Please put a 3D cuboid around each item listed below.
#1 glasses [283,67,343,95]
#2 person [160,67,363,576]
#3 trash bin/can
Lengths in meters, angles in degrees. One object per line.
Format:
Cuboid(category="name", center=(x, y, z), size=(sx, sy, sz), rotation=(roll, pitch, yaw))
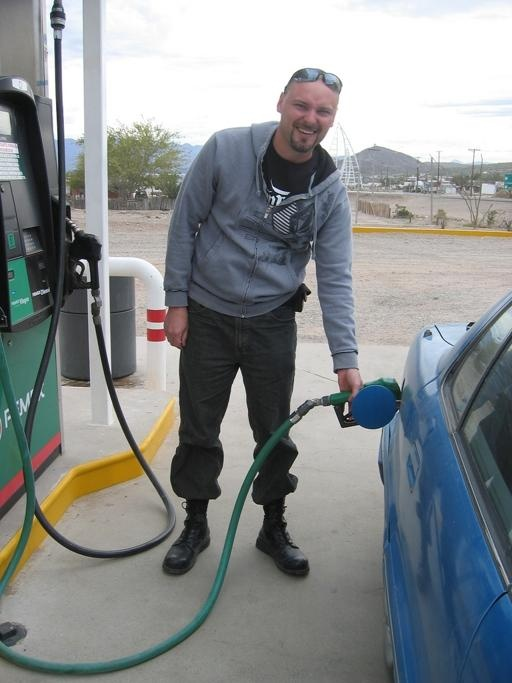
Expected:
Cuboid(category="glasses", center=(0.176, -0.819, 1.637), size=(0.175, 0.061, 0.196), rotation=(3, 11, 6))
Cuboid(category="person", center=(0.030, -0.037, 1.948), size=(0.675, 1.867, 0.528), rotation=(6, 13, 2))
Cuboid(category="trash bin/can", center=(-1.210, -0.085, 4.113), size=(0.576, 0.830, 0.332), rotation=(-2, 11, -19))
